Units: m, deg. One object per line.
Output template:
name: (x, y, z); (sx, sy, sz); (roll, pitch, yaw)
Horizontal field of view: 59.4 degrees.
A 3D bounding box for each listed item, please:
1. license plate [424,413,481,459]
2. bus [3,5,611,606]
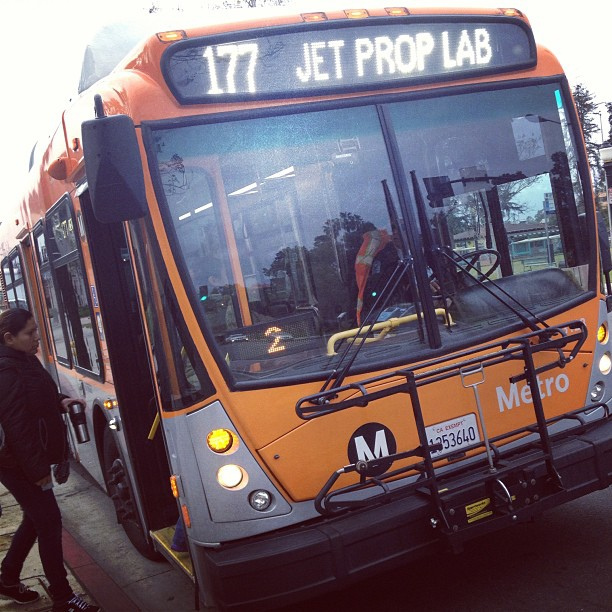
license plate: (0.835, 0.703, 3.015); (0.233, 0.246, 0.178); (1, 3, 1)
bus: (0.238, -0.207, 3.207); (3.410, 2.919, 1.461); (-11, -4, -7)
